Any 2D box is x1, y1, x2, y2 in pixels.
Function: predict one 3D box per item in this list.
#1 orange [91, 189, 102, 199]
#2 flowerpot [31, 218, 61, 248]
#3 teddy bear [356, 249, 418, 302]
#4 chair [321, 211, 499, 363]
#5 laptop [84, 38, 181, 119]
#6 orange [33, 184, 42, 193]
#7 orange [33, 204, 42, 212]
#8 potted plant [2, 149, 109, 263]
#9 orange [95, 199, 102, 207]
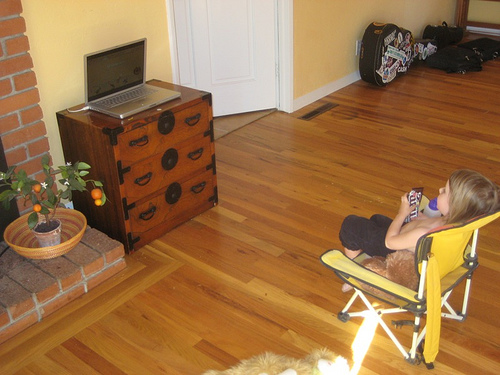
[{"bbox_3d":[-0.889,0.038,2.245,0.054,0.069,0.041,-4,34,-7],"label":"orange"},{"bbox_3d":[-1.155,0.279,2.253,0.162,0.113,0.142,-16,42,-24],"label":"flowerpot"},{"bbox_3d":[0.630,0.387,1.791,0.243,0.090,0.237,-12,26,-1],"label":"teddy bear"},{"bbox_3d":[0.759,0.502,1.848,0.482,0.505,0.444,-27,43,-30],"label":"chair"},{"bbox_3d":[-0.723,-0.672,2.406,0.335,0.290,0.505,26,39,25],"label":"laptop"},{"bbox_3d":[-1.199,0.003,2.185,0.048,0.042,0.045,7,35,-4],"label":"orange"},{"bbox_3d":[-1.155,0.109,2.110,0.043,0.041,0.042,-46,13,-18],"label":"orange"},{"bbox_3d":[-1.178,0.115,2.322,0.460,0.435,0.411,-24,60,-36],"label":"potted plant"},{"bbox_3d":[-0.880,0.090,2.276,0.041,0.044,0.040,-2,11,-4],"label":"orange"}]
